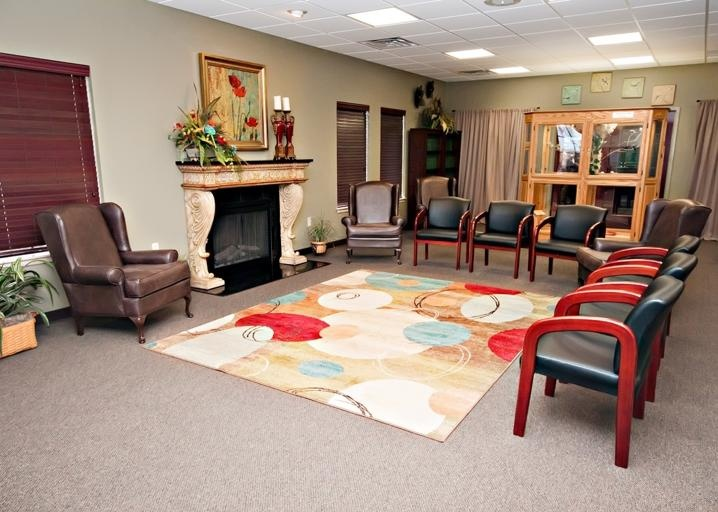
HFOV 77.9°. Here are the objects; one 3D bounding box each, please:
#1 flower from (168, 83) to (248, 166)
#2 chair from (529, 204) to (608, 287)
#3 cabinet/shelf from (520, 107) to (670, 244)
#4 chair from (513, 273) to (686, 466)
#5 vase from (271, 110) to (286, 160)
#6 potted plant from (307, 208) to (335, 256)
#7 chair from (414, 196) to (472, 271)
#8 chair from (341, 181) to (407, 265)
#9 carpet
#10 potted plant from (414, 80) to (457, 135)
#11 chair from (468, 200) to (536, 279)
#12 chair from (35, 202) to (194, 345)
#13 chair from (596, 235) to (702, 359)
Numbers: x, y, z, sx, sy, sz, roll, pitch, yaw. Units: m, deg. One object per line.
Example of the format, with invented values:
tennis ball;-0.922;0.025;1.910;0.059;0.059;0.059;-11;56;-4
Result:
flower;-2.005;-1.603;5.659;0.928;0.660;0.926;8;10;36
chair;2.861;-0.166;6.040;0.952;0.964;0.794;-11;16;-39
cabinet/shelf;4.313;-1.528;8.372;2.367;2.214;0.792;9;20;33
chair;1.701;0.716;3.166;0.848;1.096;1.156;6;11;37
vase;-1.156;-1.751;6.492;0.198;0.685;0.498;-4;16;-9
potted plant;-0.683;-0.361;7.669;0.508;0.651;0.636;0;2;1
chair;1.284;-0.359;6.754;0.837;0.938;0.918;2;14;11
chair;0.255;-0.548;7.141;0.945;1.187;1.018;0;16;4
carpet;0.170;0.706;4.782;3.104;0.164;3.172;7;16;28
potted plant;1.872;-3.329;10.066;0.452;1.234;1.314;2;20;33
chair;2.090;-0.269;6.464;0.778;0.995;0.671;12;19;42
chair;-2.479;0.088;4.527;1.202;1.137;0.929;5;15;8
chair;2.370;0.203;3.821;0.636;0.731;0.741;-20;27;-31
